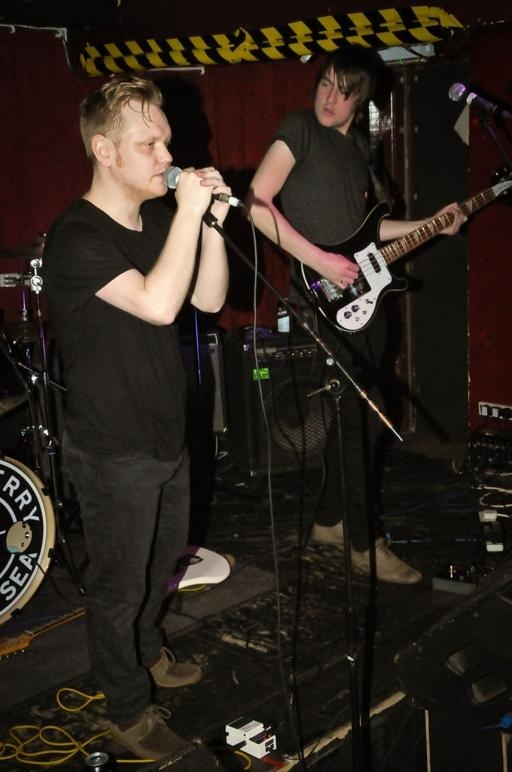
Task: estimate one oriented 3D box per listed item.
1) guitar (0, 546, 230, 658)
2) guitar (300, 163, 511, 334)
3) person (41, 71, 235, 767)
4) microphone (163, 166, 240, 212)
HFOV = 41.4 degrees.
[{"bbox_3d":[-0.459,0.801,2.392,0.794,0.077,0.252,-16,24,-30],"label":"guitar"},{"bbox_3d":[0.618,-0.553,2.779,1.273,0.361,0.122,-32,18,-28],"label":"guitar"},{"bbox_3d":[-0.246,0.098,1.579,0.420,1.541,0.471,-4,8,-6],"label":"person"},{"bbox_3d":[-0.102,-0.376,1.366,0.071,0.074,0.211,-27,44,-15],"label":"microphone"}]
